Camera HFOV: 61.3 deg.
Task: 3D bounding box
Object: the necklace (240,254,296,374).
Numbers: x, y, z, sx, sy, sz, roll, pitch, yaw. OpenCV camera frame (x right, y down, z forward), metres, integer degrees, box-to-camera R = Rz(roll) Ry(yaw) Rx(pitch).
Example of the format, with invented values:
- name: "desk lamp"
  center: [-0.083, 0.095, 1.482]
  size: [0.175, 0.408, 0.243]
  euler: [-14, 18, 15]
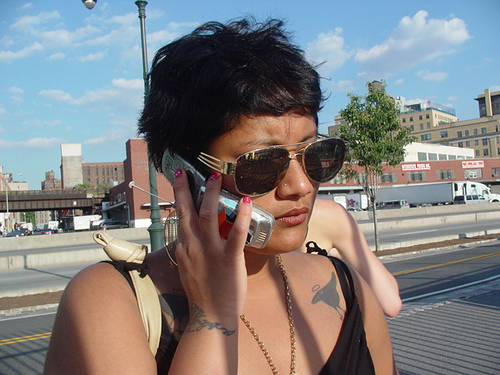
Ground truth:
- name: "necklace"
  center: [0.126, 0.553, 1.887]
  size: [0.210, 0.481, 0.385]
  euler: [-3, -1, 23]
